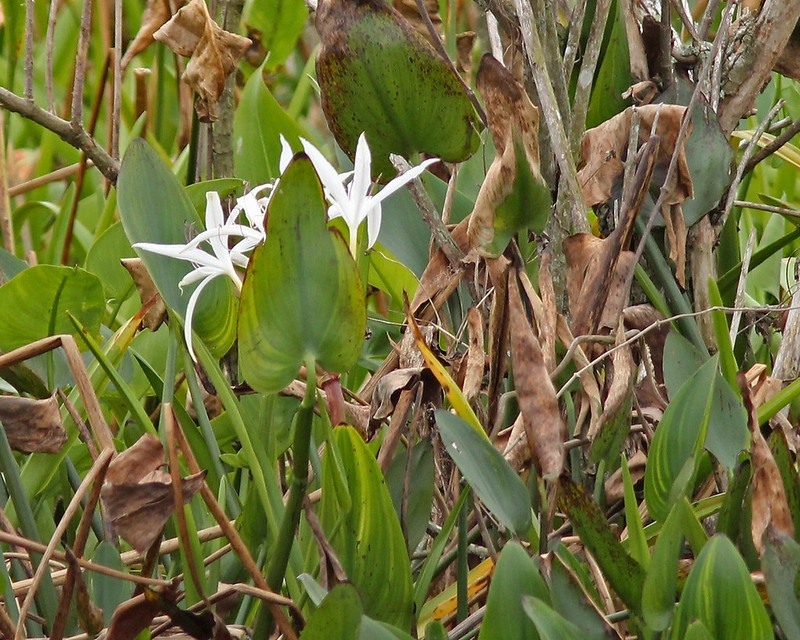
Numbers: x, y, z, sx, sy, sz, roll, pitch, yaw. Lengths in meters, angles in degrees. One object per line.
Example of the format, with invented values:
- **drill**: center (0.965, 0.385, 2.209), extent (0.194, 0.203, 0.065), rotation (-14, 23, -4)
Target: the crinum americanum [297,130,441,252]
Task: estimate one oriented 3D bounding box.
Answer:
- **crinum americanum**: center (-0.023, -0.108, 1.167), extent (0.075, 0.107, 0.051), rotation (5, 36, 7)
